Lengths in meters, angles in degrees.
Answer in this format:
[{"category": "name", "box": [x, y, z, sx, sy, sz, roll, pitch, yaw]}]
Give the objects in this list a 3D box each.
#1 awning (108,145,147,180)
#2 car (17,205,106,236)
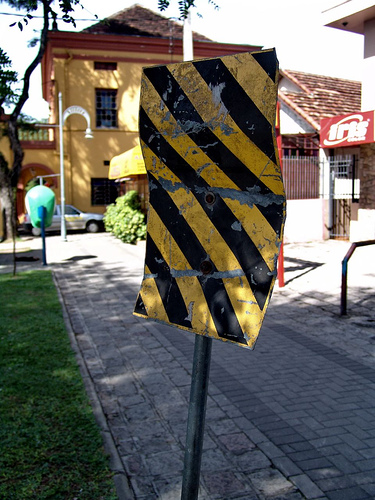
[{"category": "awning", "box": [-2.093, -2.988, 17.852, 0.842, 0.866, 3.025, -3, 5, -24]}, {"category": "car", "box": [-5.502, -1.334, 23.754, 4.011, 1.458, 1.739, -3, -9, 9]}]
